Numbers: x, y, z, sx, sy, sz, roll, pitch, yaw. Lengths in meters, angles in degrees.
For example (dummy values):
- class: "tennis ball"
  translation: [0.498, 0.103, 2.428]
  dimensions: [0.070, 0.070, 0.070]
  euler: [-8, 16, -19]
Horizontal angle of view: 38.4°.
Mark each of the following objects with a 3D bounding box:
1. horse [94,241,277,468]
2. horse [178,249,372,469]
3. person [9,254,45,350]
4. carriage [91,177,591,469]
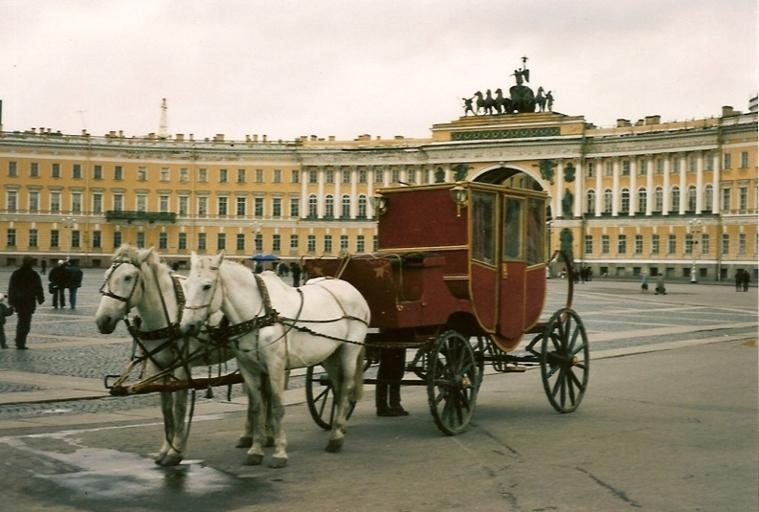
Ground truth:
- class: "horse"
  translation: [-3.204, 1.340, 16.266]
  dimensions: [2.346, 2.950, 2.252]
  euler: [0, 0, 24]
- class: "horse"
  translation: [-1.411, 1.547, 16.396]
  dimensions: [1.394, 2.903, 4.168]
  euler: [-2, -4, 35]
- class: "person"
  translation: [-8.448, 0.977, 25.154]
  dimensions: [0.940, 1.965, 1.064]
  euler: [0, 0, -9]
- class: "carriage"
  translation: [0.046, 0.842, 17.466]
  dimensions: [3.083, 3.578, 9.831]
  euler: [2, 1, 37]
